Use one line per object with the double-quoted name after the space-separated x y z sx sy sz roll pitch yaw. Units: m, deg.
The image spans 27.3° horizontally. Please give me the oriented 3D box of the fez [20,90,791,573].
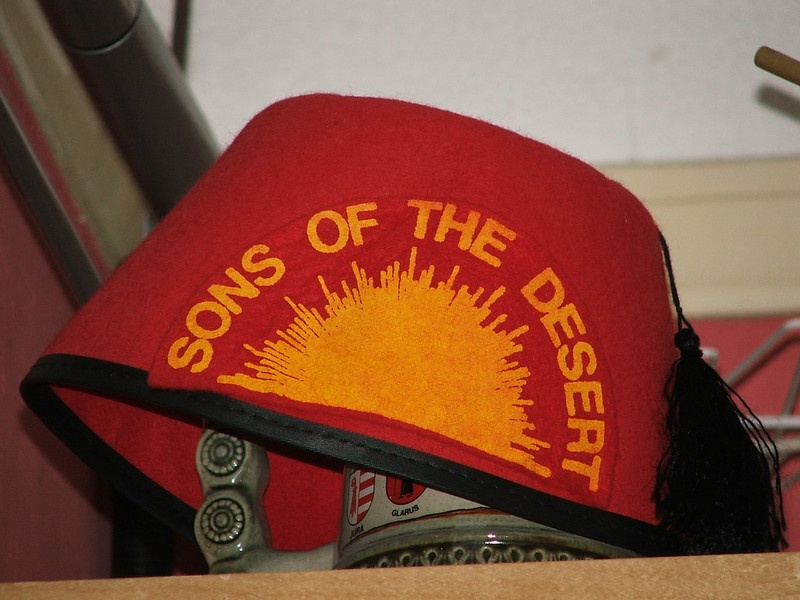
0.029 0.036 1.837 0.706 0.521 0.402 2 71 11 "fez"
